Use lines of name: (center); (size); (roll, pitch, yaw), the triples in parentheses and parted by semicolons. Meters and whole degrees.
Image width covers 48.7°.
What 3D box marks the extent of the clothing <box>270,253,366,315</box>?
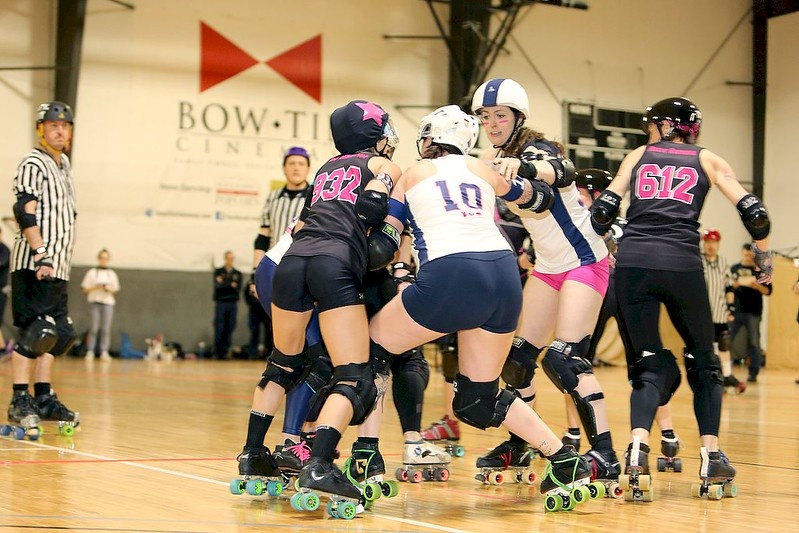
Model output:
clothing: (-0.666, 0.098, 6.872); (0.895, 0.493, 0.468); (-6, -2, 20)

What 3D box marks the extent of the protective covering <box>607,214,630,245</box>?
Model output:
protective covering: (1.959, -0.326, 7.779); (0.056, 0.211, 0.203); (22, -3, -26)

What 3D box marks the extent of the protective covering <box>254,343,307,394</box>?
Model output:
protective covering: (-0.928, 0.820, 7.034); (0.386, 0.305, 0.296); (1, 5, 36)

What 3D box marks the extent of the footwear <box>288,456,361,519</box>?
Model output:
footwear: (-0.518, 1.668, 6.654); (0.585, 0.386, 0.334); (18, -10, -17)

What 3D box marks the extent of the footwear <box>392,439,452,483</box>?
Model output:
footwear: (0.209, 1.674, 7.632); (0.469, 0.332, 0.296); (0, -2, -21)

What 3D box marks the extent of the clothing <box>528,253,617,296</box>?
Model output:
clothing: (1.548, 0.093, 7.609); (0.416, 0.328, 0.359); (-4, -6, -6)

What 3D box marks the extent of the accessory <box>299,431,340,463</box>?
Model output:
accessory: (-0.643, 1.457, 7.170); (0.187, 0.245, 0.547); (3, -6, -30)

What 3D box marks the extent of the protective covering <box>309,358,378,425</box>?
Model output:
protective covering: (-0.383, 0.929, 6.759); (0.427, 0.444, 0.451); (-8, 9, -19)

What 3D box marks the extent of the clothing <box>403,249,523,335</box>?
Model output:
clothing: (0.714, 0.210, 6.934); (0.560, 0.678, 0.941); (-3, -5, 5)

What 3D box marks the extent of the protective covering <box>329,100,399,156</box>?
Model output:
protective covering: (-0.290, -1.120, 7.204); (0.511, 0.492, 0.501); (-9, 10, 11)

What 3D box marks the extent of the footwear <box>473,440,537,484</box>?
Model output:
footwear: (0.971, 1.721, 7.747); (0.589, 0.353, 0.268); (8, -17, -35)

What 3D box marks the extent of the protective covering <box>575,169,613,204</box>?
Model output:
protective covering: (1.921, -0.778, 8.627); (0.380, 0.375, 0.313); (9, 7, 17)

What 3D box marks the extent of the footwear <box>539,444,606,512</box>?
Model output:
footwear: (1.289, 1.685, 7.069); (0.303, 0.435, 0.578); (-5, -11, -42)

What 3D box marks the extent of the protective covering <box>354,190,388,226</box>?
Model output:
protective covering: (-0.202, -0.464, 6.676); (0.241, 0.152, 0.330); (11, 31, 33)

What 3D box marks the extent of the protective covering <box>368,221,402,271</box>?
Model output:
protective covering: (-0.114, -0.160, 6.697); (0.256, 0.359, 0.145); (3, -7, -3)

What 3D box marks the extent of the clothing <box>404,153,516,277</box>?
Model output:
clothing: (0.393, -0.470, 6.903); (0.821, 1.069, 0.567); (-4, -19, -12)

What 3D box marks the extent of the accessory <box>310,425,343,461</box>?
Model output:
accessory: (-0.547, 1.306, 6.507); (0.212, 0.264, 0.104); (4, -7, -9)

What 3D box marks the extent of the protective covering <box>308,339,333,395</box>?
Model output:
protective covering: (-0.616, 0.795, 7.071); (0.124, 0.343, 0.248); (10, -10, 0)

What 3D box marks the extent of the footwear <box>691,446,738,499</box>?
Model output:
footwear: (2.689, 1.707, 7.325); (0.228, 0.386, 0.577); (2, -5, 42)

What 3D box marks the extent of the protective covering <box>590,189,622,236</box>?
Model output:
protective covering: (1.740, -0.441, 7.521); (0.235, 0.365, 0.321); (17, 2, 13)

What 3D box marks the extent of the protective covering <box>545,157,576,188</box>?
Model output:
protective covering: (1.329, -0.760, 7.107); (0.215, 0.254, 0.198); (0, -9, 1)

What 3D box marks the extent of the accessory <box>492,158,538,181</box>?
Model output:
accessory: (0.936, -0.751, 6.915); (0.274, 0.119, 0.176); (8, 15, -23)

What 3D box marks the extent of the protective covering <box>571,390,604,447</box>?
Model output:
protective covering: (1.606, 1.275, 7.463); (0.172, 0.453, 0.274); (-19, -5, 36)

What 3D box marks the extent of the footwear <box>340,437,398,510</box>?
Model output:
footwear: (-0.324, 1.631, 7.061); (0.594, 0.447, 0.318); (-14, -15, 39)

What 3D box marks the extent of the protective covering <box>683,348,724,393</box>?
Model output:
protective covering: (2.628, 0.879, 7.561); (0.353, 0.355, 0.280); (0, -1, -34)

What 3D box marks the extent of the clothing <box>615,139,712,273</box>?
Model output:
clothing: (2.290, -0.663, 7.613); (0.786, 1.265, 0.637); (10, 32, 16)

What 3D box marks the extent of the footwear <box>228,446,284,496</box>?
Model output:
footwear: (-1.084, 1.636, 6.996); (0.233, 0.332, 0.602); (-1, -6, 25)

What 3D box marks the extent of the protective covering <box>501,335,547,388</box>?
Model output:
protective covering: (1.089, 0.851, 7.874); (0.282, 0.482, 0.358); (-20, 33, -41)

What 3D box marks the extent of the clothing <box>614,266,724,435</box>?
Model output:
clothing: (2.344, 0.704, 7.577); (0.797, 2.207, 0.680); (0, -38, 11)

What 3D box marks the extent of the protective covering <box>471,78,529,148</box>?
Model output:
protective covering: (0.880, -1.362, 7.709); (0.444, 0.595, 0.499); (-3, 2, 22)

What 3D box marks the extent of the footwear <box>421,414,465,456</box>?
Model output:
footwear: (0.424, 1.675, 8.824); (0.494, 0.366, 0.286); (7, 0, -18)

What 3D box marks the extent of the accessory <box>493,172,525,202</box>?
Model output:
accessory: (0.863, -0.602, 6.914); (0.141, 0.181, 0.180); (20, 23, -31)

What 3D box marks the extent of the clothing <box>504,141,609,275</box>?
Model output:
clothing: (1.334, -0.453, 7.511); (0.859, 1.160, 0.648); (-22, -2, 29)

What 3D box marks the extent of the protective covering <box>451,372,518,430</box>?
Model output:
protective covering: (0.662, 1.048, 6.791); (0.474, 0.222, 0.352); (5, -8, -24)

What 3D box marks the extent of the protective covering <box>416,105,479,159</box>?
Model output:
protective covering: (0.372, -1.080, 6.988); (0.453, 0.461, 0.354); (11, 3, 21)

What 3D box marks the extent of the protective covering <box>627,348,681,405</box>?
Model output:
protective covering: (2.279, 0.939, 7.570); (0.389, 0.528, 0.558); (-11, -9, 33)
